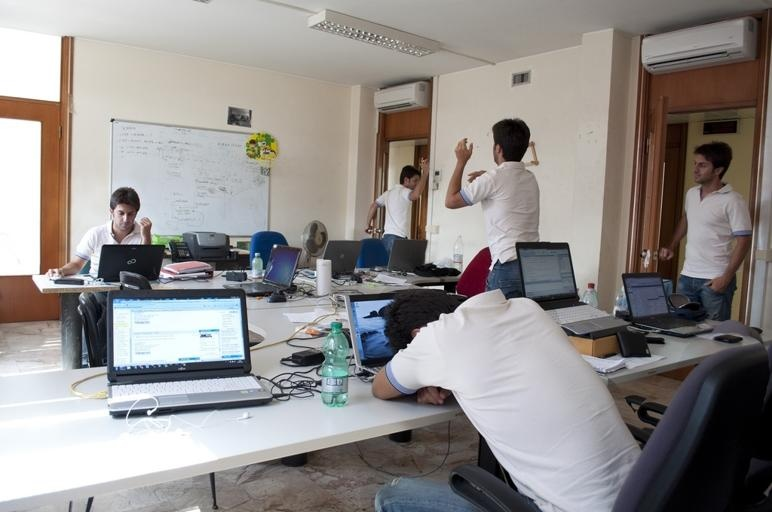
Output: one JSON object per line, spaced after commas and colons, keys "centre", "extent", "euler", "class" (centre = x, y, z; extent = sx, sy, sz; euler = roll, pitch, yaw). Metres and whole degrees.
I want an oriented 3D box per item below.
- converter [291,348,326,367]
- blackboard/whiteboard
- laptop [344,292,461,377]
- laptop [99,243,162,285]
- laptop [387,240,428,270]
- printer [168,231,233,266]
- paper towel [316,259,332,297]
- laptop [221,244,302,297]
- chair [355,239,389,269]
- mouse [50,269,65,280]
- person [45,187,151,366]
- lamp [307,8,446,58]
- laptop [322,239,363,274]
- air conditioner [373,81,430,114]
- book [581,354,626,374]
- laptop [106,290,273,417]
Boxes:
{"centre": [-0.369, 0.473, 2.607], "extent": [0.125, 0.039, 0.087], "euler": [-4, 8, -43], "class": "converter"}
{"centre": [-2.321, -0.930, 6.292], "extent": [1.700, 1.129, 0.034], "euler": [-1, -1, -32], "class": "blackboard/whiteboard"}
{"centre": [0.074, 0.317, 2.374], "extent": [0.482, 0.285, 0.403], "euler": [-4, 7, -31], "class": "laptop"}
{"centre": [-1.887, 0.024, 4.018], "extent": [0.399, 0.245, 0.282], "euler": [1, 13, -45], "class": "laptop"}
{"centre": [0.210, -0.013, 5.185], "extent": [0.402, 0.269, 0.292], "euler": [-2, 17, -43], "class": "laptop"}
{"centre": [-1.998, -0.099, 5.895], "extent": [0.563, 0.359, 0.373], "euler": [-2, 1, -35], "class": "printer"}
{"centre": [-0.468, 0.157, 4.052], "extent": [0.147, 0.253, 0.143], "euler": [-1, 6, -14], "class": "paper towel"}
{"centre": [-0.899, 0.131, 4.091], "extent": [0.426, 0.278, 0.471], "euler": [-1, 5, -33], "class": "laptop"}
{"centre": [-0.138, -0.028, 5.768], "extent": [0.299, 0.372, 0.327], "euler": [0, 5, -25], "class": "chair"}
{"centre": [-2.542, 0.135, 4.179], "extent": [0.087, 0.051, 0.146], "euler": [0, 4, -26], "class": "mouse"}
{"centre": [-2.269, 0.165, 4.401], "extent": [0.737, 1.315, 0.810], "euler": [4, 6, -10], "class": "person"}
{"centre": [-0.110, -2.288, 5.593], "extent": [1.434, 0.265, 0.540], "euler": [-6, 15, -30], "class": "lamp"}
{"centre": [-0.393, 0.003, 4.884], "extent": [0.378, 0.238, 0.287], "euler": [-3, 5, -43], "class": "laptop"}
{"centre": [0.219, -2.133, 7.237], "extent": [0.327, 0.375, 0.816], "euler": [-10, 17, -40], "class": "air conditioner"}
{"centre": [0.999, 0.495, 2.496], "extent": [0.186, 0.053, 0.183], "euler": [-4, 8, -26], "class": "book"}
{"centre": [-0.891, 0.293, 2.329], "extent": [0.598, 0.369, 0.534], "euler": [-2, 5, -23], "class": "laptop"}
